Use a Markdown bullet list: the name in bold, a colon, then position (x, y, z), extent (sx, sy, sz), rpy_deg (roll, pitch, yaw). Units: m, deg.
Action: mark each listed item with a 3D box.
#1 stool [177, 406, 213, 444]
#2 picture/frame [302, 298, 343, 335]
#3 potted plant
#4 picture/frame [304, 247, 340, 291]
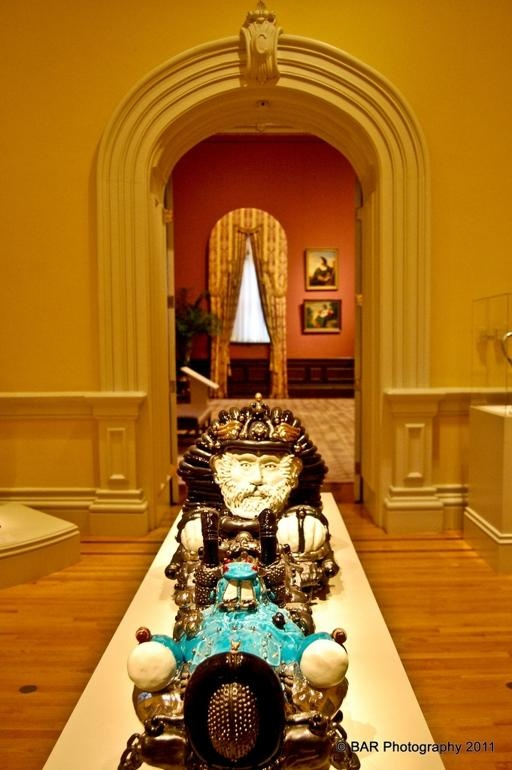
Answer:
- **stool**: position (-0.579, 0.353, 5.187), extent (0.250, 0.300, 0.449), rpy_deg (-1, 5, 2)
- **picture/frame**: position (1.224, -1.279, 10.540), extent (0.617, 0.571, 0.082), rpy_deg (-1, 2, 1)
- **potted plant**: position (-1.046, -0.875, 10.040), extent (0.736, 1.585, 1.196), rpy_deg (-1, 5, -7)
- **picture/frame**: position (1.207, -2.141, 10.453), extent (0.722, 0.926, 0.068), rpy_deg (-1, 8, 1)
